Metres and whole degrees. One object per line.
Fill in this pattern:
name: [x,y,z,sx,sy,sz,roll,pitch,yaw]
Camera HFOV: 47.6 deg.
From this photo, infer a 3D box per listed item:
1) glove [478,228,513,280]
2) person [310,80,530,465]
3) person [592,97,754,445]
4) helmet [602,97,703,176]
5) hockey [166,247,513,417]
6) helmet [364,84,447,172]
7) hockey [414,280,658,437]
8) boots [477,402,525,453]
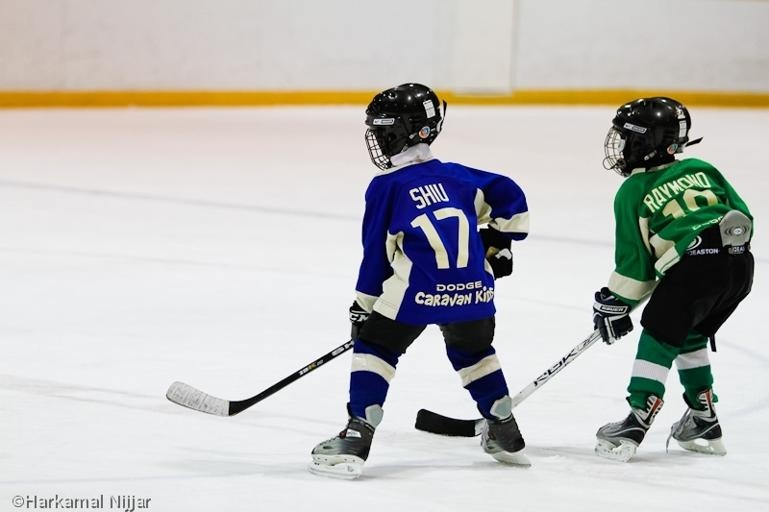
glove: [0.488,-0.011,3.654,0.079,0.186,0.164,-8,0,10]
person: [0.181,0.089,3.557,0.840,1.597,0.365,4,-13,-4]
person: [1.239,0.072,3.727,0.660,1.503,0.430,1,-13,11]
helmet: [1.191,-0.528,3.815,0.443,0.342,0.324,9,20,43]
hockey: [-0.211,0.395,4.134,1.448,0.225,0.246,-22,-14,-1]
helmet: [0.082,-0.552,3.658,0.360,0.302,0.264,-5,28,1]
hockey: [0.692,0.497,3.957,0.994,0.174,0.107,-36,21,11]
boots: [0.479,0.695,3.526,0.163,0.201,0.227,0,5,4]
